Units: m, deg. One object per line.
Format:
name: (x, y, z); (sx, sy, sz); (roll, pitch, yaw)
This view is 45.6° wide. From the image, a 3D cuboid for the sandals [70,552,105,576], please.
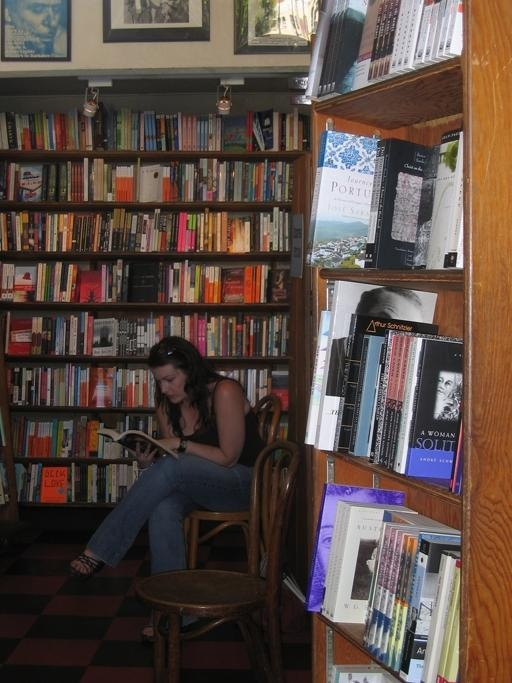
sandals: (-0.608, 0.797, 2.190); (0.112, 0.061, 0.037); (-2, -11, 8)
